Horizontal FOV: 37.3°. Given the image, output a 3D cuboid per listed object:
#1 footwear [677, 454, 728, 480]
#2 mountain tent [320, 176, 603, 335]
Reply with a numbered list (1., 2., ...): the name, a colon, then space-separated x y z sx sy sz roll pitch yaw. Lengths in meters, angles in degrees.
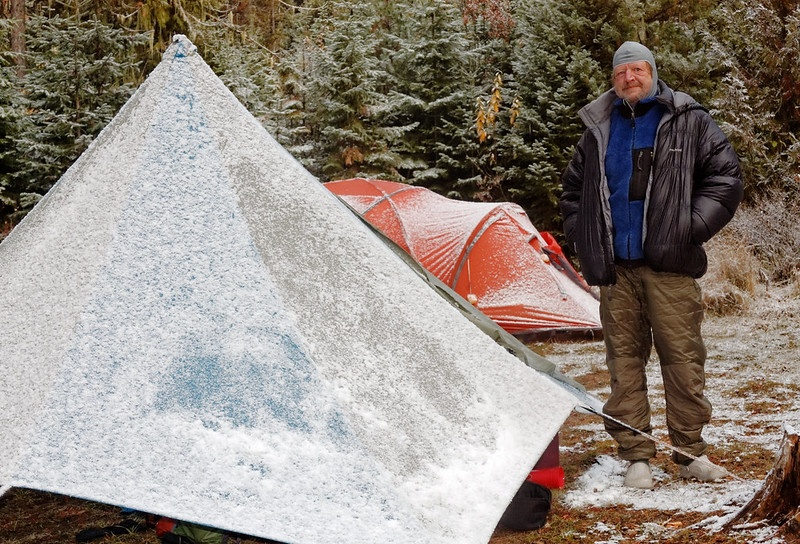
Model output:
1. footwear: 2.937 1.896 11.488 0.417 0.182 0.193 -2 4 10
2. mountain tent: 0.835 0.148 15.983 3.010 0.843 2.201 23 19 23
